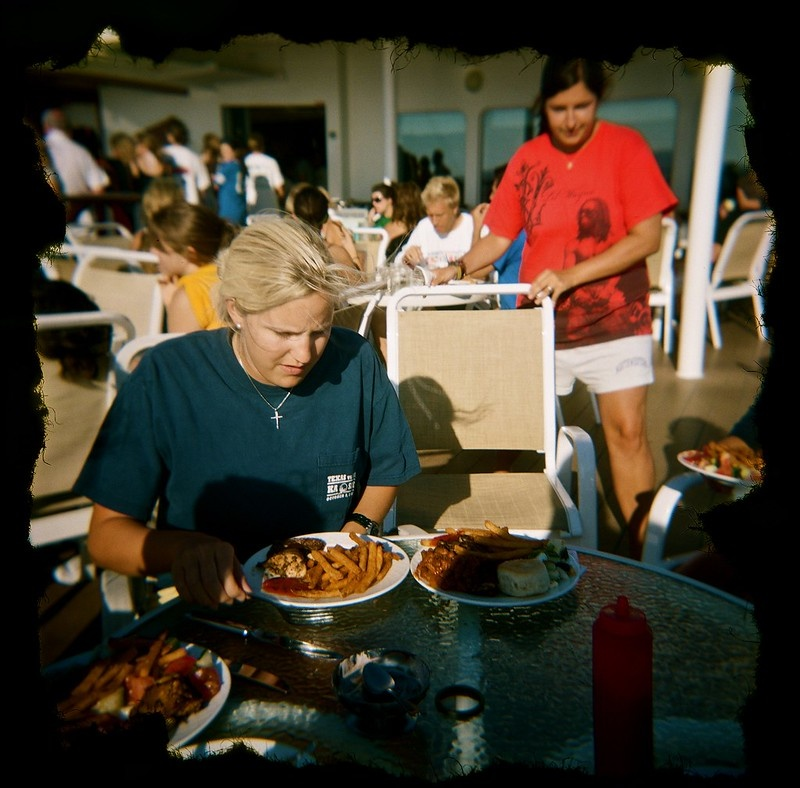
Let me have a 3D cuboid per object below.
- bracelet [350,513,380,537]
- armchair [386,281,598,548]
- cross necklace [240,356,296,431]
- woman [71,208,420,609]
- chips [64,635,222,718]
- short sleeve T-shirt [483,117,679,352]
[{"bbox_3d":[-0.083,0.315,1.766,0.053,0.021,0.054,22,-15,34],"label":"bracelet"},{"bbox_3d":[0.326,0.013,2.635,0.756,1.249,0.926,-1,11,2],"label":"armchair"},{"bbox_3d":[-0.295,-0.013,1.656,0.159,0.139,0.038,0,1,-21],"label":"cross necklace"},{"bbox_3d":[-0.291,0.037,1.720,0.883,0.824,0.502,-9,29,-32],"label":"woman"},{"bbox_3d":[-0.395,0.432,1.113,0.122,0.041,0.114,6,23,-8],"label":"chips"},{"bbox_3d":[0.653,-0.567,2.690,0.705,0.806,0.364,3,16,27],"label":"short sleeve T-shirt"}]
